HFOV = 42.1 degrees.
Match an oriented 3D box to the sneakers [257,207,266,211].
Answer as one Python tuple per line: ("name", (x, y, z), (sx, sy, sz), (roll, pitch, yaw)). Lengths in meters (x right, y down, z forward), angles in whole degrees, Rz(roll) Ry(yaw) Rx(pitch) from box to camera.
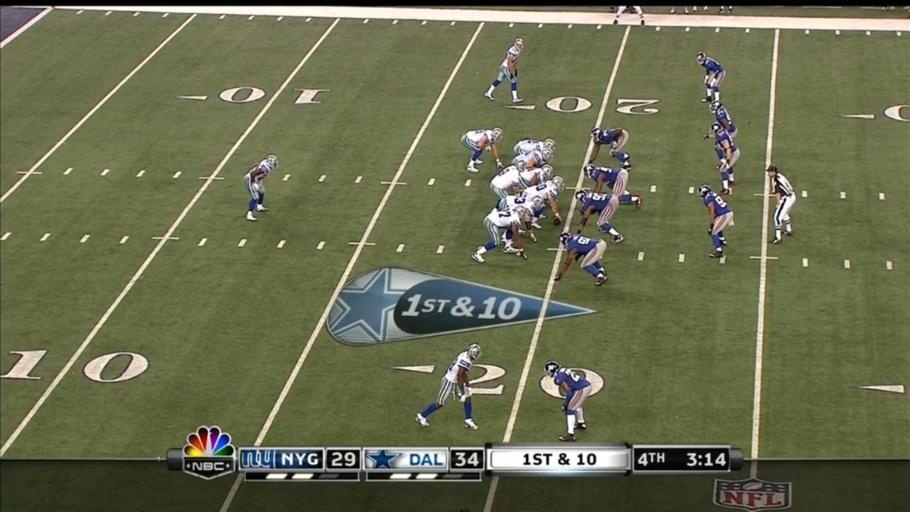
("sneakers", (-5.205, -1.230, 31.839), (0.313, 0.139, 0.075), (-4, 41, -12))

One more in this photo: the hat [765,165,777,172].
("hat", (8.202, -2.171, 30.353), (0.337, 0.087, 0.259), (5, 18, 10))

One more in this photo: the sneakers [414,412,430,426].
("sneakers", (-0.694, 3.671, 26.265), (0.235, 0.118, 0.429), (-5, 14, -25))

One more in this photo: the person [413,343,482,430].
("person", (-0.150, 2.931, 25.855), (1.381, 1.873, 1.140), (0, 46, 1))

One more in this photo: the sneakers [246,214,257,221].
("sneakers", (-5.418, -0.997, 31.564), (0.382, 0.168, 0.123), (1, 31, -2))

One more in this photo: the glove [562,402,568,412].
("glove", (2.420, 3.316, 25.667), (0.148, 0.210, 0.087), (6, 14, 7))

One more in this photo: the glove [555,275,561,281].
("glove", (2.607, 0.568, 29.465), (0.138, 0.185, 0.120), (6, 46, 7))

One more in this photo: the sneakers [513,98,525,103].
("sneakers", (1.971, -4.706, 36.226), (0.437, 0.136, 0.093), (-4, 66, -1))

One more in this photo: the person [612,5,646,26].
("person", (6.043, -8.361, 40.270), (1.090, 0.817, 1.436), (5, 39, 6))

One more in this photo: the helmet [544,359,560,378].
("helmet", (2.137, 2.425, 25.580), (0.456, 0.266, 0.304), (12, 28, 22))
